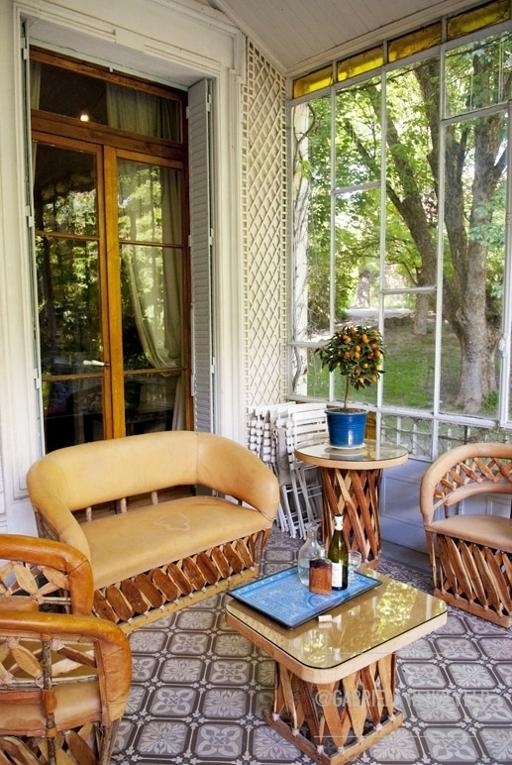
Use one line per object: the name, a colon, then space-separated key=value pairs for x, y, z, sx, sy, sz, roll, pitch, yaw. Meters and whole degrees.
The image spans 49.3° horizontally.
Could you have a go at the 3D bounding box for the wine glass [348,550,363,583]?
wine glass: x=0.382 y=0.716 z=2.193 sx=0.077 sy=0.089 sz=0.077 roll=-2 pitch=4 yaw=-20

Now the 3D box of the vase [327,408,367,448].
vase: x=0.504 y=0.238 z=3.179 sx=0.214 sy=0.168 sz=0.224 roll=1 pitch=6 yaw=3

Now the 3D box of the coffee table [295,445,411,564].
coffee table: x=0.505 y=0.688 z=3.188 sx=0.539 sy=0.600 sz=0.553 roll=-8 pitch=-22 yaw=16

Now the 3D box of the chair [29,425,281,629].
chair: x=-0.534 y=0.718 z=2.889 sx=1.199 sy=0.754 sz=0.720 roll=-6 pitch=11 yaw=-40
